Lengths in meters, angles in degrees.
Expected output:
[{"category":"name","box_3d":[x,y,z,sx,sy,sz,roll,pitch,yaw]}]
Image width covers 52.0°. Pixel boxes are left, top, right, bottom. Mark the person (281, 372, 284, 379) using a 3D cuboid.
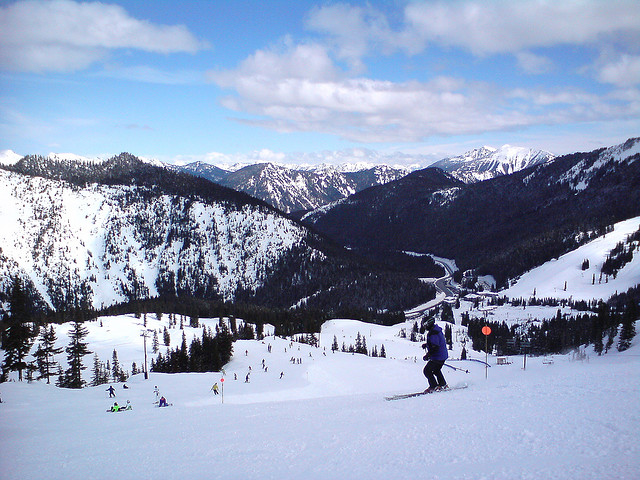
[{"category":"person","box_3d":[-12.481,44.328,213.296,0.479,1.722,1.219,3,-4,-6]}]
